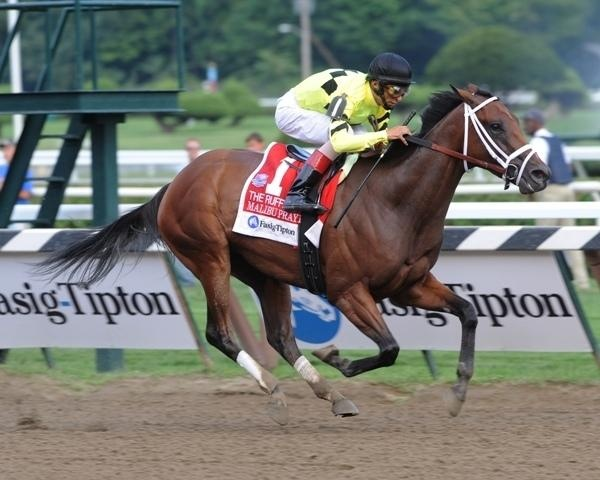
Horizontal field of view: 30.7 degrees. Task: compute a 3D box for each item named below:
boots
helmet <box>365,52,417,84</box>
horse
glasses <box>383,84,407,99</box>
[{"bbox_3d":[0.042,-0.318,6.017,0.257,0.340,0.218,0,16,6],"label":"boots"},{"bbox_3d":[0.518,-0.958,6.018,0.247,0.138,0.295,-13,25,-27],"label":"helmet"},{"bbox_3d":[-0.110,0.009,6.724,3.985,1.888,0.842,4,9,41],"label":"horse"},{"bbox_3d":[0.534,-0.812,5.984,0.155,0.082,0.056,-7,16,-23],"label":"glasses"}]
